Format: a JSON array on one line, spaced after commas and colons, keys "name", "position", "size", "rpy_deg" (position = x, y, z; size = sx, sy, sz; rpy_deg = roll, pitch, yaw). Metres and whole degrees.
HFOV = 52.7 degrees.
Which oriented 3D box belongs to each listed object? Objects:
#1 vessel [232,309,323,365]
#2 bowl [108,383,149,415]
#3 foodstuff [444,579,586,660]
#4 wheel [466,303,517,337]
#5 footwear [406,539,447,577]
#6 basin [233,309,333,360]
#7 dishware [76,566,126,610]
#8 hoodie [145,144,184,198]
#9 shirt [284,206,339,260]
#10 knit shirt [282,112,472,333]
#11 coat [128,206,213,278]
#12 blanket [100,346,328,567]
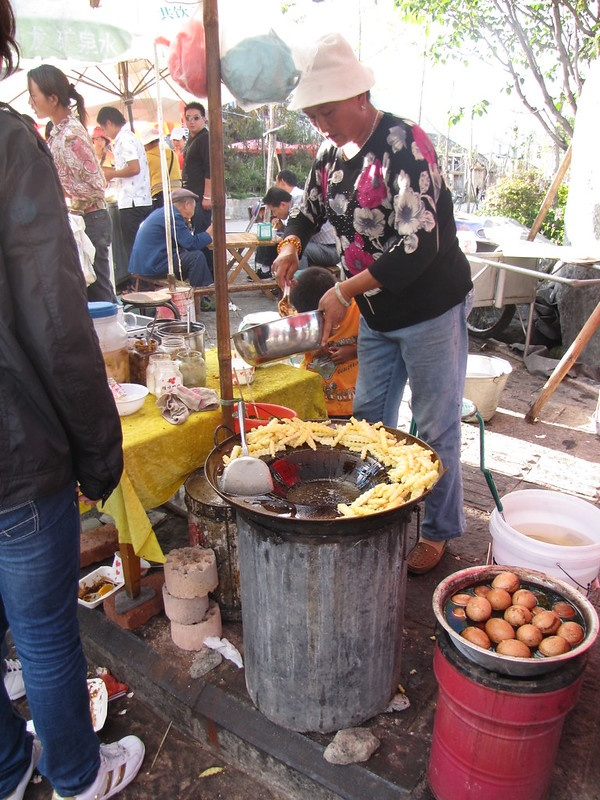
[{"name": "vessel", "position": [-0.078, -0.222, 2.372], "size": [0.405, 0.150, 0.376], "rpy_deg": [-13, 2, -29]}, {"name": "bowl", "position": [-0.668, -0.018, 2.379], "size": [0.146, 0.072, 0.140], "rpy_deg": [3, 13, -1]}, {"name": "foodstuff", "position": [0.567, 0.568, 1.607], "size": [0.201, 0.058, 0.203], "rpy_deg": [-4, 10, -23]}, {"name": "wheel", "position": [2.026, -0.836, 6.518], "size": [0.101, 0.383, 0.410], "rpy_deg": [6, -2, -42]}, {"name": "footwear", "position": [0.574, 0.716, 2.795], "size": [0.115, 0.065, 0.265], "rpy_deg": [10, 22, 29]}, {"name": "basin", "position": [-0.072, -0.226, 2.228], "size": [0.238, 0.089, 0.217], "rpy_deg": [-12, 3, 1]}, {"name": "dishware", "position": [-0.901, 0.874, 2.720], "size": [0.160, 0.036, 0.225], "rpy_deg": [8, 20, 28]}, {"name": "hoodie", "position": [-1.780, -3.196, 8.372], "size": [0.466, 0.587, 0.339], "rpy_deg": [1, 24, 6]}, {"name": "shirt", "position": [0.125, -1.801, 6.892], "size": [0.410, 0.281, 0.732], "rpy_deg": [-20, -22, 22]}, {"name": "knit shirt", "position": [0.225, -0.678, 2.423], "size": [0.750, 0.843, 0.524], "rpy_deg": [14, 25, 34]}, {"name": "coat", "position": [-1.476, -1.771, 7.023], "size": [1.040, 0.899, 0.654], "rpy_deg": [-7, 24, -21]}, {"name": "blanket", "position": [-0.330, 0.201, 2.618], "size": [0.723, 0.306, 1.135], "rpy_deg": [29, 50, 29]}]
